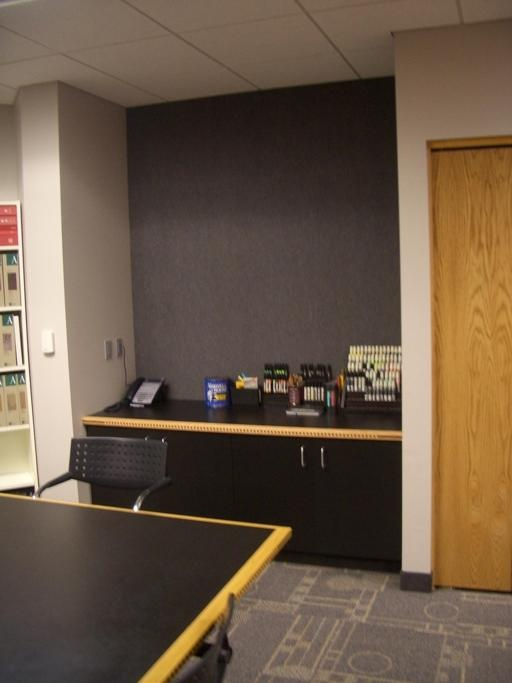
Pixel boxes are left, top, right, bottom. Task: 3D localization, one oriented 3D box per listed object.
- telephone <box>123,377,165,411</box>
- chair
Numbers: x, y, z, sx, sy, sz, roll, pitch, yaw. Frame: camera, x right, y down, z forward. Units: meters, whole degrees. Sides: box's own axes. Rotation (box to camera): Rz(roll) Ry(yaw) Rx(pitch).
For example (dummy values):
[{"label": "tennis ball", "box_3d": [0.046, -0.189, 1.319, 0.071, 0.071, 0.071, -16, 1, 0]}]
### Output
[{"label": "telephone", "box_3d": [-0.799, 0.361, 3.826, 0.245, 0.181, 0.291, -4, 4, 13]}, {"label": "chair", "box_3d": [-0.625, 0.549, 2.371, 0.430, 0.327, 0.356, 0, -3, 18]}]
